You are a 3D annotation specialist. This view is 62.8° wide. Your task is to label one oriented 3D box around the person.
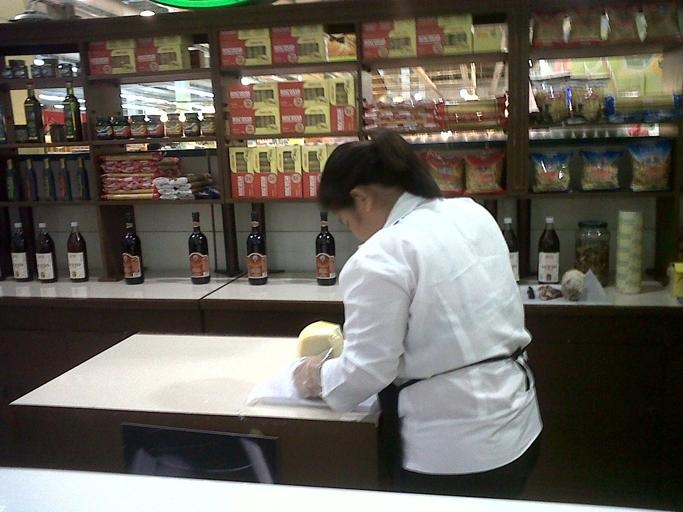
[{"bbox_3d":[0.263,0.170,1.552,0.771,1.019,0.537,3,10,-5],"label":"person"}]
